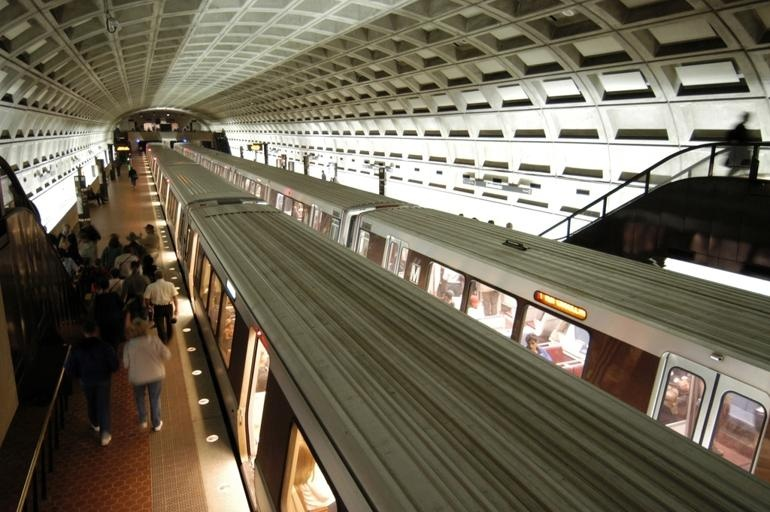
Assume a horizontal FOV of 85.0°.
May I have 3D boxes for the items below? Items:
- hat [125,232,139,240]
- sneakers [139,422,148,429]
[{"bbox_3d":[-8.280,-0.634,13.680,0.428,0.126,0.444,1,17,-27],"label":"hat"},{"bbox_3d":[-3.968,2.799,6.909,0.117,0.081,0.114,-11,8,-16],"label":"sneakers"}]
